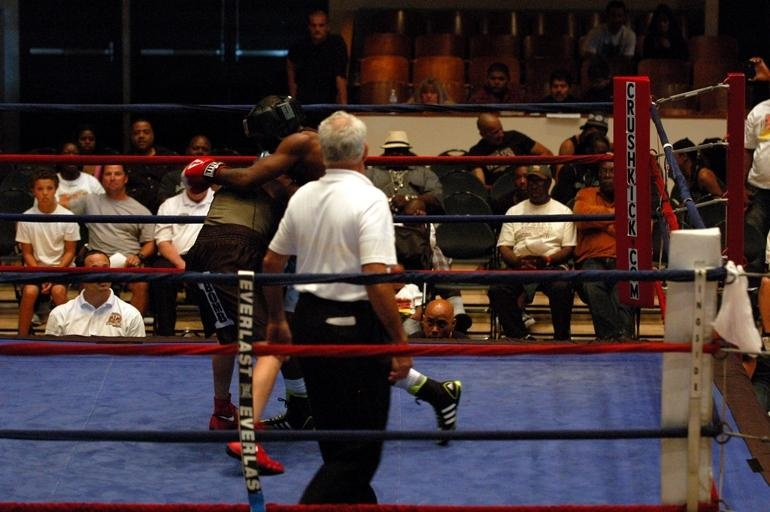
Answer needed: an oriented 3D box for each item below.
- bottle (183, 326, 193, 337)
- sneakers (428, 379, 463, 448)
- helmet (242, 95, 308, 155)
[{"bbox_3d":[-1.483,0.574,7.908,0.057,0.047,0.060,6,25,-3],"label":"bottle"},{"bbox_3d":[0.320,0.860,5.721,0.200,0.336,0.134,7,0,-33],"label":"sneakers"},{"bbox_3d":[-0.590,-0.716,5.615,0.383,0.241,0.272,-2,2,2],"label":"helmet"}]
